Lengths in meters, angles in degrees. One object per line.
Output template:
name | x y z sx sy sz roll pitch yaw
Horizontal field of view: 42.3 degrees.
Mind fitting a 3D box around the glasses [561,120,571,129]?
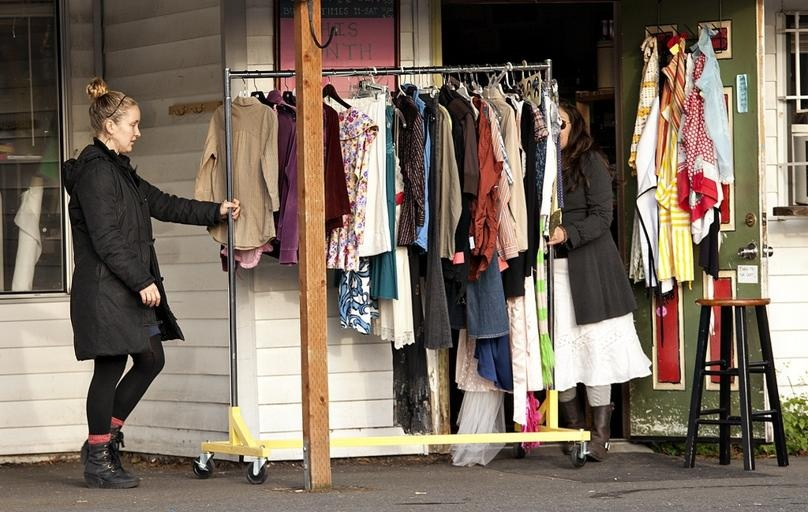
glasses | 1.342 -1.098 8.640 0.072 0.033 0.073 3 -6 -39

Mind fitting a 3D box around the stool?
stool | 2.671 1.022 8.469 0.874 1.103 0.719 -1 -1 -38

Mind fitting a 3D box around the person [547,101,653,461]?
person | 1.567 0.207 8.578 0.732 2.116 0.266 -1 -1 -12

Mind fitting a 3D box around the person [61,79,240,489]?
person | -2.005 0.248 7.759 0.931 2.948 0.603 -1 -1 -20
